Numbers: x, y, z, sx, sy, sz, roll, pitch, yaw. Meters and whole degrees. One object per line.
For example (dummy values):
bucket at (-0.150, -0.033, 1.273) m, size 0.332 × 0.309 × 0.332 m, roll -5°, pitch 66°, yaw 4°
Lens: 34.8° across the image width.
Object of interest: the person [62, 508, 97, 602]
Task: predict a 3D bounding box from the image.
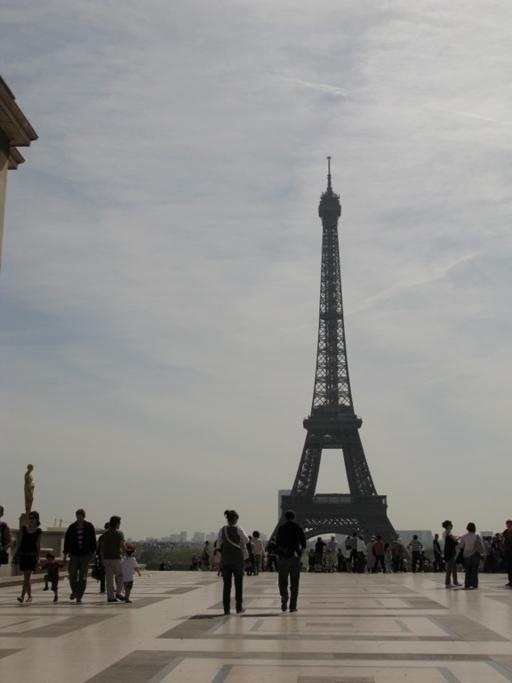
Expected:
person at (-3.602, 4.391, 16.631) m, size 0.679 × 1.795 × 1.156 m, roll 3°, pitch -15°, yaw -11°

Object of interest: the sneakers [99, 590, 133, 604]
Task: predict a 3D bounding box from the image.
sneakers at (-2.829, 5.170, 16.486) m, size 0.669 × 0.264 × 0.219 m, roll -2°, pitch -6°, yaw 4°
